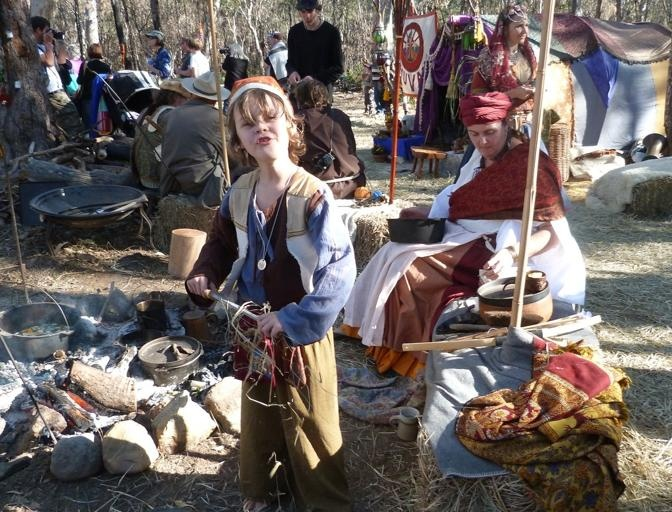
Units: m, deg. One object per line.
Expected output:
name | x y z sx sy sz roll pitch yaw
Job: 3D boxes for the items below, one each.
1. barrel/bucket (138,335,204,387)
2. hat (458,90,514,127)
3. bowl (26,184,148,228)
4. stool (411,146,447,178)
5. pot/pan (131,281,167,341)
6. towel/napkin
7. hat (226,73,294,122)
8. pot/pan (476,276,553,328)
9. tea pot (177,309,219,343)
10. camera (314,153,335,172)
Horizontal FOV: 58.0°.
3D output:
barrel/bucket | -1.240 0.761 4.776 0.469 0.322 0.566 -13 25 -40
hat | 1.058 -1.021 4.294 0.351 0.238 0.229 3 14 7
bowl | -2.484 -0.492 6.147 1.074 0.345 0.857 -6 15 -29
stool | 1.405 -1.448 9.166 0.536 0.349 0.724 -1 16 1
pot/pan | -1.546 0.470 5.135 0.298 0.394 0.366 -9 25 -30
towel/napkin | 0.822 0.908 3.537 0.610 0.245 0.797 -7 39 31
hat | -0.409 -0.856 3.296 0.341 0.222 0.210 -1 14 -9
pot/pan | 1.098 0.291 3.782 0.385 0.220 0.369 -19 12 -16
tea pot | -1.163 0.572 5.173 0.291 0.300 0.277 -1 11 0
camera | -0.108 -0.948 6.250 0.136 0.230 0.069 33 17 -2
